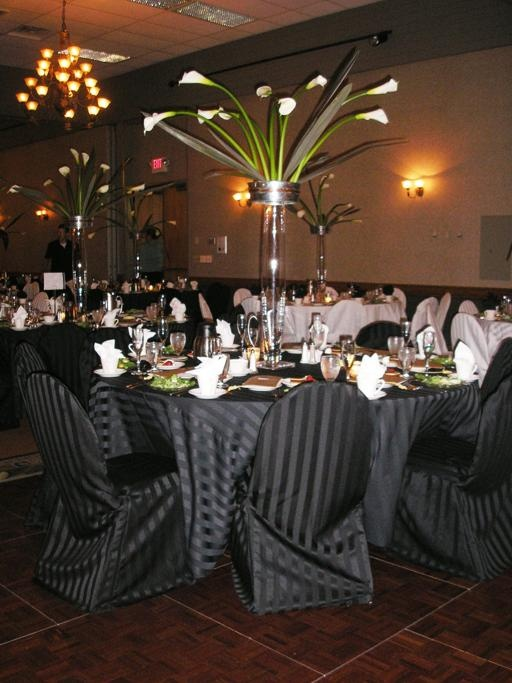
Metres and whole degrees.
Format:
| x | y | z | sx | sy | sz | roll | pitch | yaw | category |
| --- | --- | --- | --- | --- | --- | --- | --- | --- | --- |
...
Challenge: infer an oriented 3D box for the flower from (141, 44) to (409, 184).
| x | y | z | sx | sy | sz | roll | pitch | yaw | category |
| --- | --- | --- | --- | --- | --- | --- | --- | --- | --- |
| 0.023 | -0.907 | 2.358 | 1.103 | 0.481 | 1.073 | -1 | 11 | 21 | flower |

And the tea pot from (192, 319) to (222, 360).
| x | y | z | sx | sy | sz | roll | pitch | yaw | category |
| --- | --- | --- | --- | --- | --- | --- | --- | --- | --- |
| -0.170 | 0.002 | 2.195 | 0.101 | 0.163 | 0.165 | -2 | 11 | -21 | tea pot |

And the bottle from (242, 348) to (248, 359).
| x | y | z | sx | sy | sz | roll | pitch | yaw | category |
| --- | --- | --- | --- | --- | --- | --- | --- | --- | --- |
| -0.054 | 0.058 | 2.466 | 0.011 | 0.040 | 0.042 | 10 | -13 | -22 | bottle |

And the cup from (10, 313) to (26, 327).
| x | y | z | sx | sy | sz | roll | pitch | yaw | category |
| --- | --- | --- | --- | --- | --- | --- | --- | --- | --- |
| -1.747 | -0.158 | 3.969 | 0.094 | 0.092 | 0.099 | -1 | -2 | 0 | cup |

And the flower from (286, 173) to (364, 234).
| x | y | z | sx | sy | sz | roll | pitch | yaw | category |
| --- | --- | --- | --- | --- | --- | --- | --- | --- | --- |
| 0.719 | -1.295 | 5.639 | 0.727 | 0.359 | 0.718 | 1 | 9 | -10 | flower |

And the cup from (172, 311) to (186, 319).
| x | y | z | sx | sy | sz | roll | pitch | yaw | category |
| --- | --- | --- | --- | --- | --- | --- | --- | --- | --- |
| -0.701 | -0.246 | 4.991 | 0.086 | 0.061 | 0.089 | -2 | 3 | 0 | cup |

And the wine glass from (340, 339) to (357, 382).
| x | y | z | sx | sy | sz | roll | pitch | yaw | category |
| --- | --- | --- | --- | --- | --- | --- | --- | --- | --- |
| 0.361 | 0.065 | 2.134 | 0.080 | 0.176 | 0.072 | -4 | -3 | 4 | wine glass |

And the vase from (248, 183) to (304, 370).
| x | y | z | sx | sy | sz | roll | pitch | yaw | category |
| --- | --- | --- | --- | --- | --- | --- | --- | --- | --- |
| 0.054 | -0.276 | 2.335 | 0.203 | 0.785 | 0.270 | 0 | -1 | -21 | vase |

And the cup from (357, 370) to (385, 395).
| x | y | z | sx | sy | sz | roll | pitch | yaw | category |
| --- | --- | --- | --- | --- | --- | --- | --- | --- | --- |
| 0.385 | 0.146 | 1.829 | 0.076 | 0.084 | 0.094 | -6 | 18 | -19 | cup |

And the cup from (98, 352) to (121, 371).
| x | y | z | sx | sy | sz | roll | pitch | yaw | category |
| --- | --- | --- | --- | --- | --- | --- | --- | --- | --- |
| -0.595 | 0.079 | 2.208 | 0.078 | 0.065 | 0.070 | -3 | -5 | 40 | cup |

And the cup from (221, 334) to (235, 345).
| x | y | z | sx | sy | sz | roll | pitch | yaw | category |
| --- | --- | --- | --- | --- | --- | --- | --- | --- | --- |
| -0.137 | -0.007 | 2.766 | 0.046 | 0.066 | 0.161 | 0 | -1 | 13 | cup |

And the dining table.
| x | y | z | sx | sy | sz | roll | pitch | yaw | category |
| --- | --- | --- | --- | --- | --- | --- | --- | --- | --- |
| 0.103 | 0.340 | 1.903 | 0.937 | 0.356 | 0.879 | -1 | 3 | -11 | dining table |

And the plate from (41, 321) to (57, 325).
| x | y | z | sx | sy | sz | roll | pitch | yaw | category |
| --- | --- | --- | --- | --- | --- | --- | --- | --- | --- |
| -1.643 | -0.153 | 4.271 | 0.119 | 0.027 | 0.117 | 0 | -1 | -2 | plate |

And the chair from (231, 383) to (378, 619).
| x | y | z | sx | sy | sz | roll | pitch | yaw | category |
| --- | --- | --- | --- | --- | --- | --- | --- | --- | --- |
| 0.123 | 0.489 | 1.756 | 0.504 | 0.687 | 0.509 | 2 | -3 | 5 | chair |

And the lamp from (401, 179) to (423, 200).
| x | y | z | sx | sy | sz | roll | pitch | yaw | category |
| --- | --- | --- | --- | --- | --- | --- | --- | --- | --- |
| 2.258 | -2.165 | 7.677 | 0.270 | 0.243 | 0.334 | -8 | 13 | -42 | lamp |

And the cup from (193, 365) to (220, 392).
| x | y | z | sx | sy | sz | roll | pitch | yaw | category |
| --- | --- | --- | --- | --- | --- | --- | --- | --- | --- |
| -0.156 | 0.123 | 1.800 | 0.085 | 0.095 | 0.090 | -4 | 4 | 0 | cup |

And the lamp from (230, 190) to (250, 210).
| x | y | z | sx | sy | sz | roll | pitch | yaw | category |
| --- | --- | --- | --- | --- | --- | --- | --- | --- | --- |
| -0.238 | -2.657 | 10.042 | 0.190 | 0.332 | 0.517 | 1 | -1 | -31 | lamp |

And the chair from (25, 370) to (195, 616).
| x | y | z | sx | sy | sz | roll | pitch | yaw | category |
| --- | --- | --- | --- | --- | --- | --- | --- | --- | --- |
| -0.545 | 0.475 | 1.726 | 0.567 | 0.759 | 0.352 | 0 | -1 | 19 | chair |

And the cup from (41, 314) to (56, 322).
| x | y | z | sx | sy | sz | roll | pitch | yaw | category |
| --- | --- | --- | --- | --- | --- | --- | --- | --- | --- |
| -1.691 | -0.189 | 4.378 | 0.111 | 0.073 | 0.109 | -2 | -3 | 0 | cup |

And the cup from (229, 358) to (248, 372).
| x | y | z | sx | sy | sz | roll | pitch | yaw | category |
| --- | --- | --- | --- | --- | --- | --- | --- | --- | --- |
| -0.064 | 0.093 | 2.169 | 0.059 | 0.041 | 0.054 | -1 | 8 | 0 | cup |

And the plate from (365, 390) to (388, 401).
| x | y | z | sx | sy | sz | roll | pitch | yaw | category |
| --- | --- | --- | --- | --- | --- | --- | --- | --- | --- |
| 0.403 | 0.178 | 1.790 | 0.042 | 0.011 | 0.044 | -8 | 6 | -9 | plate |
